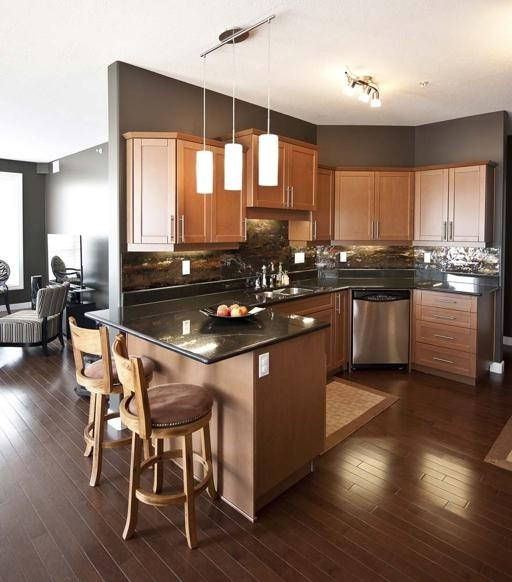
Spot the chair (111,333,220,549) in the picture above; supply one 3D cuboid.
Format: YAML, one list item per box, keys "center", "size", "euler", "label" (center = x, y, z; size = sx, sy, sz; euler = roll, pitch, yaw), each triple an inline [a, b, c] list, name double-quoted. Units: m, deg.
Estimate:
- center: [-0.455, 0.696, 2.458]
  size: [0.503, 0.927, 0.700]
  euler: [-2, 10, -12]
  label: "chair"

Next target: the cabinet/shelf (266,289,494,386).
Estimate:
- center: [1.389, 0.411, 4.498]
  size: [2.042, 0.876, 0.562]
  euler: [-1, 9, -4]
  label: "cabinet/shelf"

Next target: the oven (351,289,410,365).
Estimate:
- center: [1.271, 0.376, 4.969]
  size: [0.631, 0.792, 0.601]
  euler: [-2, 10, 1]
  label: "oven"
